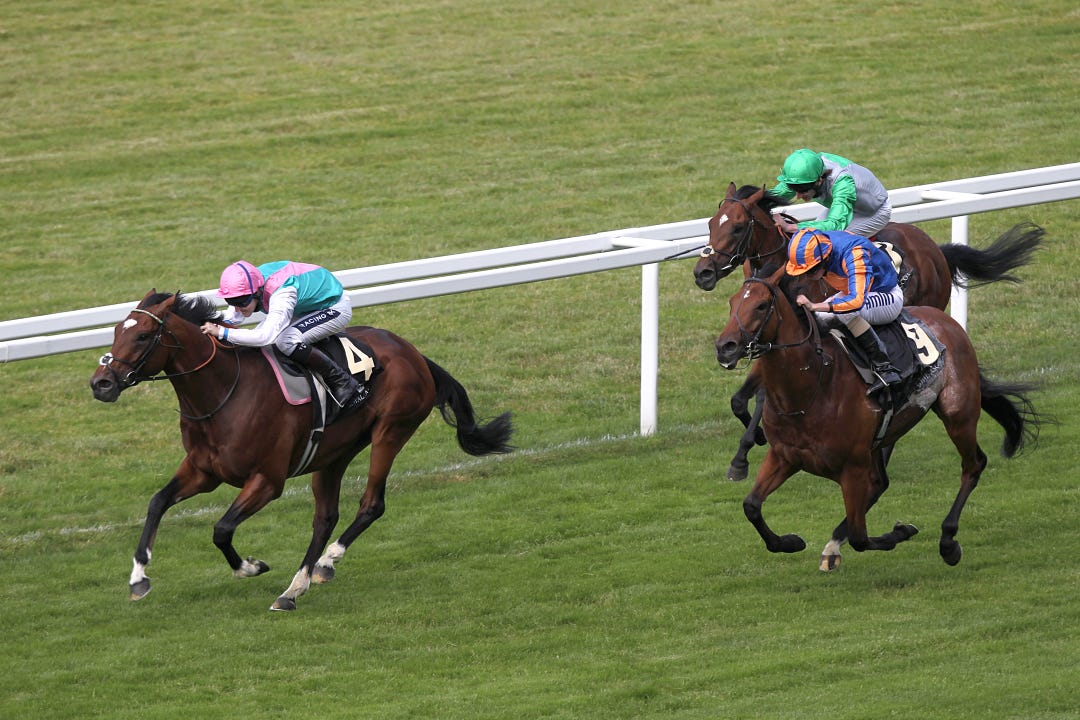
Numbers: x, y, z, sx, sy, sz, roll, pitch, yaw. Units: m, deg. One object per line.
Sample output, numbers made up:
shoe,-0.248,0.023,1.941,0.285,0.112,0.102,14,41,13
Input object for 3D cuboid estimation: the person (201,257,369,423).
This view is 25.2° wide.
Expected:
person,-1.856,-0.211,17.306,1.162,1.013,0.777,-9,19,-6

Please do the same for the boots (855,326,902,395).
boots,2.414,0.027,17.189,0.314,0.493,0.561,-1,12,-3

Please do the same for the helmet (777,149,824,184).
helmet,1.934,-1.445,17.951,0.352,0.219,0.264,-8,27,3

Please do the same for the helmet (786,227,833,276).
helmet,1.864,-0.810,17.145,0.330,0.208,0.405,11,38,36

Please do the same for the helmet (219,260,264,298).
helmet,-2.100,-0.575,17.064,0.252,0.142,0.295,-4,28,13

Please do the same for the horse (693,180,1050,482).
horse,2.602,-0.332,18.669,3.553,1.790,0.755,-22,42,-37

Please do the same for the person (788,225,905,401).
person,2.180,-0.386,17.196,0.772,1.130,0.742,-8,29,7
